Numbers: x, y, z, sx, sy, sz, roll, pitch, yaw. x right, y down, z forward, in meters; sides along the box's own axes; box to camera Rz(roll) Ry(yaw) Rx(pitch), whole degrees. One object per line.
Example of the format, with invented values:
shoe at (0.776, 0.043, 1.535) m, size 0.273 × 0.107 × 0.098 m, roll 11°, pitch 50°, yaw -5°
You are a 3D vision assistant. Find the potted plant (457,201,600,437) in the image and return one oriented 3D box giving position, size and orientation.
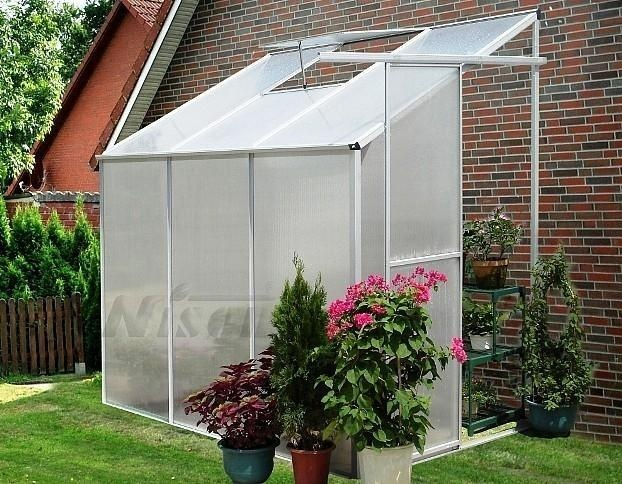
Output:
potted plant at (2.508, 0.901, 7.417) m, size 1.396 × 2.598 × 1.159 m, roll 0°, pitch 2°, yaw 15°

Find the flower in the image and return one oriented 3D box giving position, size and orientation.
flower at (0.665, 0.986, 5.520) m, size 1.341 × 1.503 × 0.810 m, roll -2°, pitch 3°, yaw -37°
